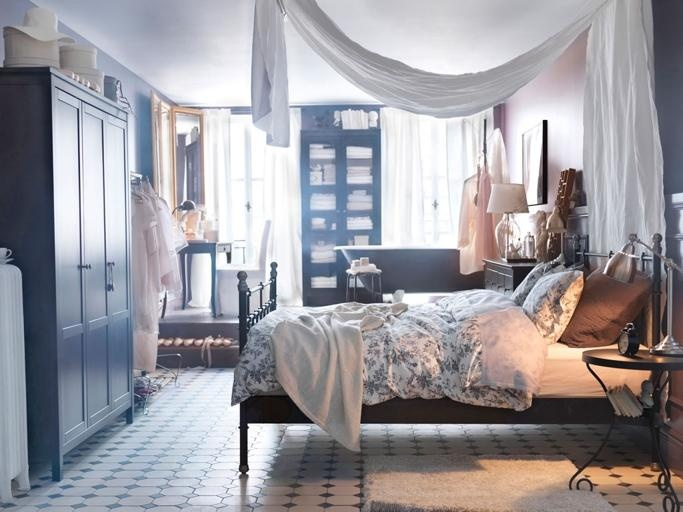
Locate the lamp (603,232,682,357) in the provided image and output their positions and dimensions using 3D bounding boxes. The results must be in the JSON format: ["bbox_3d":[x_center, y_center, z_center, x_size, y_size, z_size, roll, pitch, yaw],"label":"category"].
[{"bbox_3d":[1.713,0.192,3.258,0.393,0.661,0.620,2,7,27],"label":"lamp"}]

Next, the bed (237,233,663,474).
[{"bbox_3d":[0.528,0.781,4.046,2.164,1.403,1.616,1,-1,3],"label":"bed"}]

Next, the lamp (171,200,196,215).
[{"bbox_3d":[-1.775,-0.564,6.579,0.313,0.169,0.192,-7,6,-25],"label":"lamp"}]

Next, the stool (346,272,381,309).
[{"bbox_3d":[0.259,0.389,6.940,0.398,0.718,0.403,0,2,-12],"label":"stool"}]

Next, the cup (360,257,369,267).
[{"bbox_3d":[0.255,0.059,6.235,0.078,0.079,0.079,0,-3,0],"label":"cup"}]

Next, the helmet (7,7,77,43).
[{"bbox_3d":[-1.849,-1.415,3.543,0.271,0.150,0.285,15,18,23],"label":"helmet"}]

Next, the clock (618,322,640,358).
[{"bbox_3d":[1.516,0.440,3.043,0.093,0.145,0.160,1,7,19],"label":"clock"}]

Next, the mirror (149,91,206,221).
[{"bbox_3d":[-2.023,-1.276,7.180,0.318,1.360,1.172,0,7,12],"label":"mirror"}]
